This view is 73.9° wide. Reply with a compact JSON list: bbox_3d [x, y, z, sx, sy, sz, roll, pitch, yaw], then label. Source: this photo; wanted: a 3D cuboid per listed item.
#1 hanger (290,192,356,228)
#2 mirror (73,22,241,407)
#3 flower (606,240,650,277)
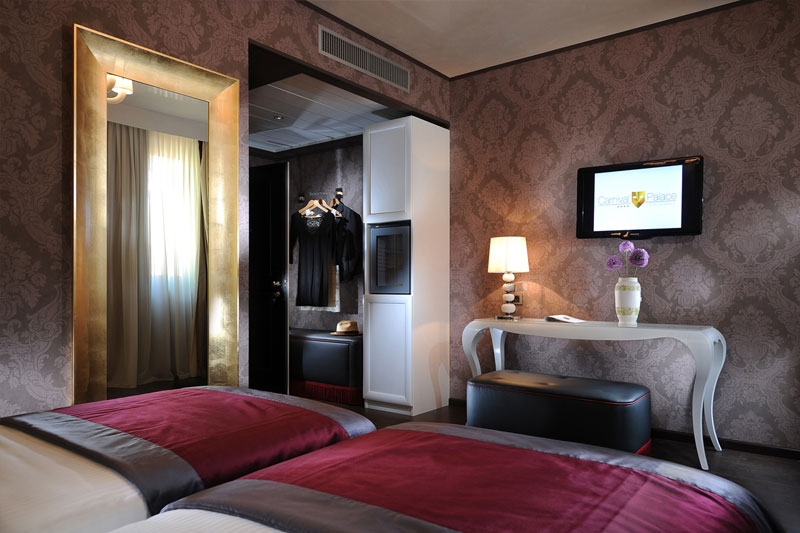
[{"bbox_3d":[-0.867,-0.656,6.283,0.691,0.301,0.292,10,15,37],"label":"hanger"},{"bbox_3d":[-1.529,-0.288,3.427,1.177,2.307,0.533,-7,14,-31],"label":"mirror"},{"bbox_3d":[1.871,-0.080,4.517,0.328,0.421,0.371,-1,5,-2],"label":"flower"}]
